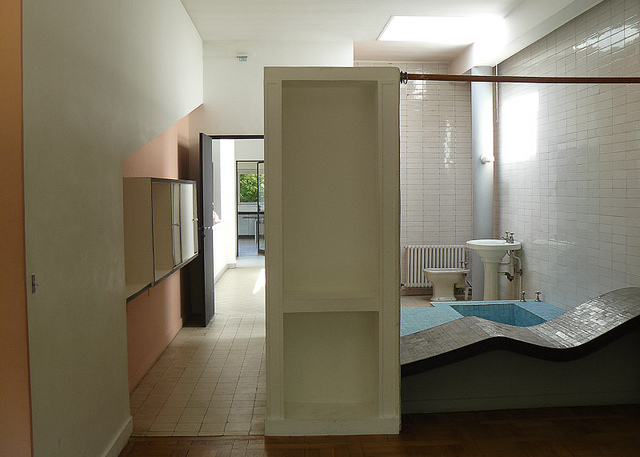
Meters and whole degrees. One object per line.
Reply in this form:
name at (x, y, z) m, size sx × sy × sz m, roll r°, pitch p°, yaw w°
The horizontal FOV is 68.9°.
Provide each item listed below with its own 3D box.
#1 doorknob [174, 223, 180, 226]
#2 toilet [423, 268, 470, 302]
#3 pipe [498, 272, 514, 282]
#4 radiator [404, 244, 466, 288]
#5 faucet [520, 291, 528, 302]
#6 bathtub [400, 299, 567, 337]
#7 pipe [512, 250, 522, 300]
doorknob at (-1.533, -0.048, 4.967) m, size 0.023 × 0.033 × 0.087 m, roll 9°, pitch 3°, yaw -40°
toilet at (1.957, 0.872, 7.313) m, size 0.659 × 0.451 × 0.446 m, roll -1°, pitch 1°, yaw -3°
pipe at (2.636, 0.663, 6.588) m, size 0.145 × 0.134 × 0.144 m, roll -1°, pitch 0°, yaw 0°
radiator at (1.874, 0.614, 7.566) m, size 0.721 × 0.506 × 0.118 m, roll 1°, pitch 1°, yaw 0°
faucet at (2.719, 0.900, 6.224) m, size 0.095 × 0.155 × 0.140 m, roll 2°, pitch -5°, yaw -15°
bathtub at (1.976, 1.102, 5.881) m, size 1.975 × 0.298 × 0.913 m, roll -1°, pitch 8°, yaw -4°
pipe at (2.752, 0.632, 6.516) m, size 0.118 × 0.651 × 0.222 m, roll 1°, pitch 9°, yaw 13°
